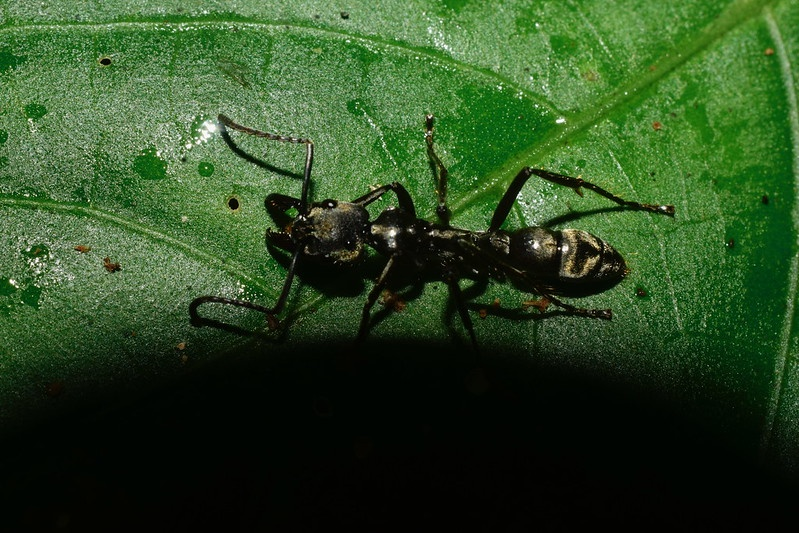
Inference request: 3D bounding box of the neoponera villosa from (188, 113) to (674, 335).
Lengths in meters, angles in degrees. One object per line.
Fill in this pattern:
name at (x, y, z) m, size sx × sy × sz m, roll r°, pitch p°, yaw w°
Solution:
neoponera villosa at (0.309, -0.242, 5.802) m, size 3.055 × 1.708 × 0.508 m, roll 8°, pitch 11°, yaw -5°
